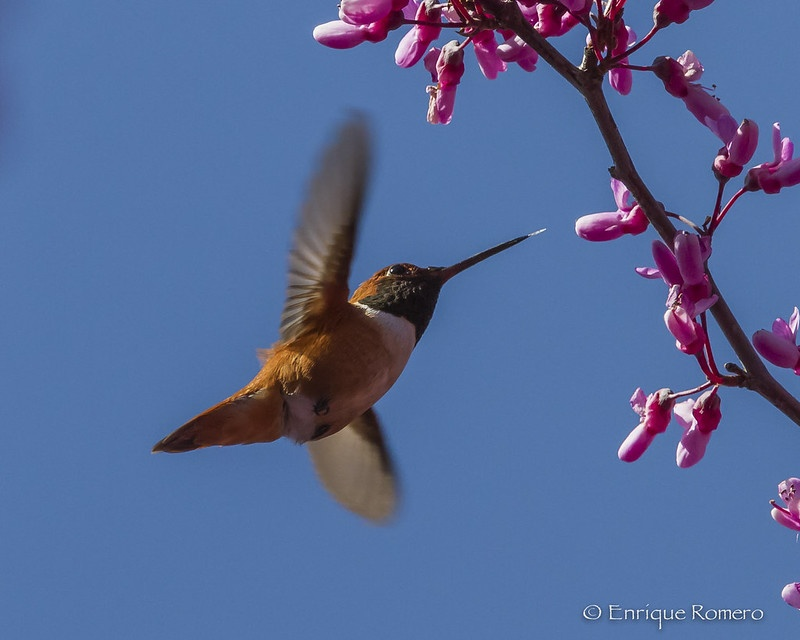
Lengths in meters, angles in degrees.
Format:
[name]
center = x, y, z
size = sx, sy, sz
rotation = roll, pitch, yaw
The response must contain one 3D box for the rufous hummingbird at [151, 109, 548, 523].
[rufous hummingbird]
center = -0.129, -0.148, 2.580
size = 0.531, 0.321, 0.807
rotation = -16, -50, -19
